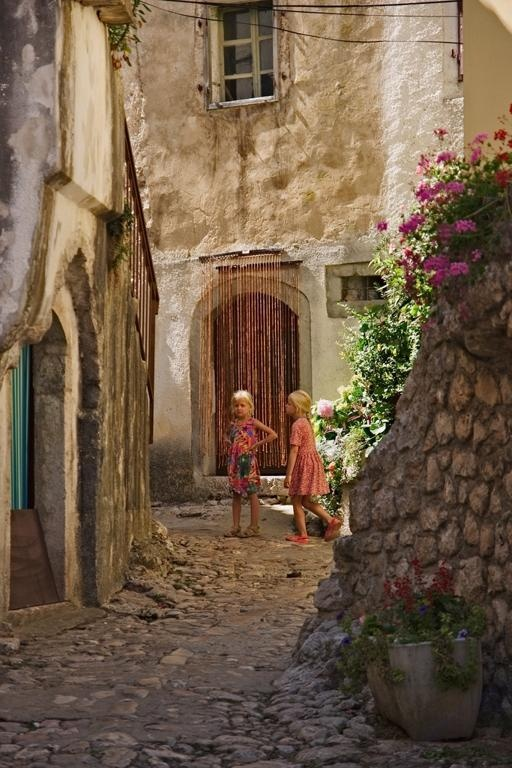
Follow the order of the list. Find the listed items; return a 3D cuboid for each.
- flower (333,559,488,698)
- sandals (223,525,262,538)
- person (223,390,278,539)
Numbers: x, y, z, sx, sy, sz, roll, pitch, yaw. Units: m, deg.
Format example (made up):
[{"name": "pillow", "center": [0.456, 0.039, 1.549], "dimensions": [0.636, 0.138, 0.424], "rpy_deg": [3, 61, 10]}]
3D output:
[{"name": "flower", "center": [0.603, 0.986, 5.206], "dimensions": [0.470, 0.274, 0.575], "rpy_deg": [3, -12, -22]}, {"name": "sandals", "center": [-0.073, 1.206, 10.443], "dimensions": [0.114, 0.074, 0.209], "rpy_deg": [-10, -17, 42]}, {"name": "person", "center": [-0.033, 0.645, 10.725], "dimensions": [0.377, 1.010, 0.715], "rpy_deg": [-1, 0, 0]}]
